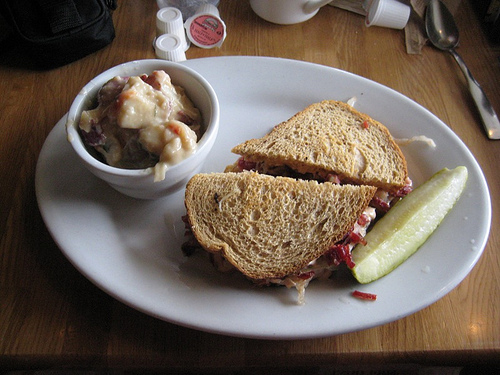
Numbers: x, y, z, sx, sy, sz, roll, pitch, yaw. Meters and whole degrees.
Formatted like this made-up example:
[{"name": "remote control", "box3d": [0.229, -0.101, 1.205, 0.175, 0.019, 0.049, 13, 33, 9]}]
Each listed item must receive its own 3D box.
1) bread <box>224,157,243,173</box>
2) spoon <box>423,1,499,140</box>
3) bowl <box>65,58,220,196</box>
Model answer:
[{"name": "bread", "box3d": [-0.082, -0.098, 2.046, 0.055, 0.016, 0.056, -25, 28, -24]}, {"name": "spoon", "box3d": [1.101, -0.662, 2.459, 0.169, 0.127, 0.948, -7, 69, -2]}, {"name": "bowl", "box3d": [-0.431, -0.235, 1.968, 0.519, 0.302, 0.618, 3, 69, 3]}]
